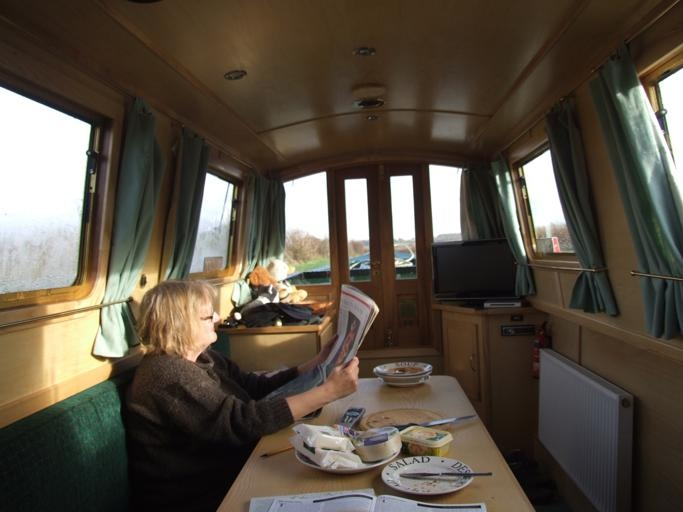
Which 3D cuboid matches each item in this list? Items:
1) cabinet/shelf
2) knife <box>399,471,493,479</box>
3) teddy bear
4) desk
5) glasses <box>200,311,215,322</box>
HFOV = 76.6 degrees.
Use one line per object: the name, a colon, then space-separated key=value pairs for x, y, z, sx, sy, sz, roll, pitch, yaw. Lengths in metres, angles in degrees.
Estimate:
cabinet/shelf: x=-0.594 y=0.818 z=3.928 sx=0.841 sy=0.971 sz=0.678 roll=-2 pitch=-14 yaw=-1
knife: x=0.376 y=0.797 z=1.565 sx=0.285 sy=0.016 sz=0.038 roll=-1 pitch=-2 yaw=3
teddy bear: x=-0.746 y=0.349 z=4.581 sx=0.506 sy=0.334 sz=0.496 roll=-10 pitch=-2 yaw=-9
desk: x=1.608 y=1.000 z=4.463 sx=0.521 sy=1.313 sz=0.754 roll=-5 pitch=17 yaw=5
glasses: x=-0.672 y=0.306 z=2.187 sx=0.050 sy=0.061 sz=0.017 roll=2 pitch=18 yaw=-15
